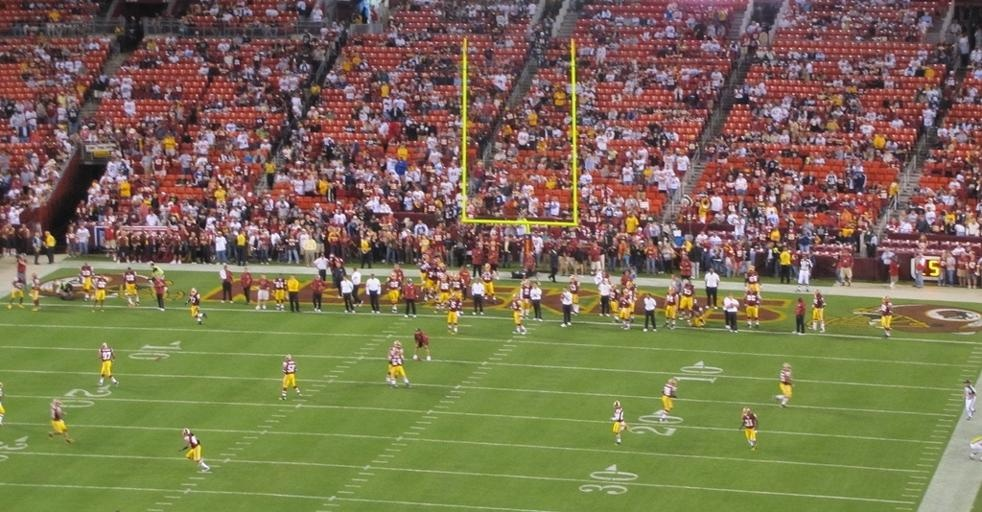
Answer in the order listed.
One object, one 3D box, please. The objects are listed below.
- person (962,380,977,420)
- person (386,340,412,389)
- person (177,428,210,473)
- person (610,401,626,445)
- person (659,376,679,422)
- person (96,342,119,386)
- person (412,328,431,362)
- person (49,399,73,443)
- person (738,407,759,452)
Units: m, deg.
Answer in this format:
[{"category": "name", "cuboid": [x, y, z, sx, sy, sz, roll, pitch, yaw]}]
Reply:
[{"category": "person", "cuboid": [15.947, 4.726, 61.974, 0.436, 1.344, 1.675, 4, 4, 14]}, {"category": "person", "cuboid": [-3.225, 3.632, 63.929, 0.834, 1.554, 1.284, 2, 4, -5]}, {"category": "person", "cuboid": [-9.671, 6.227, 60.430, 0.870, 1.362, 1.207, 2, 4, -8]}, {"category": "person", "cuboid": [4.160, 5.411, 61.379, 0.495, 1.400, 1.460, 3, 4, 5]}, {"category": "person", "cuboid": [5.877, 4.747, 62.167, 0.550, 1.401, 1.131, 3, 4, 6]}, {"category": "person", "cuboid": [-13.331, 3.665, 64.256, 0.622, 1.457, 1.244, 1, 4, -11]}, {"category": "person", "cuboid": [-2.519, 3.151, 65.609, 0.687, 1.130, 0.611, 31, 50, 28]}, {"category": "person", "cuboid": [-14.332, 5.392, 61.444, 0.625, 1.415, 1.092, 1, 4, -14]}, {"category": "person", "cuboid": [8.437, 5.584, 61.031, 0.583, 1.365, 1.573, 3, 4, 8]}]
